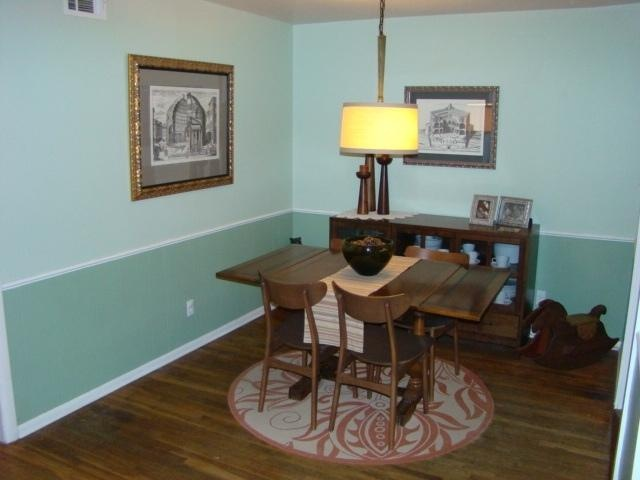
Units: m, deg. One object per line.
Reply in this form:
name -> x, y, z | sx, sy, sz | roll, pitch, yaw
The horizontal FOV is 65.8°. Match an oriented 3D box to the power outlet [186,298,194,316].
power outlet -> -1.154, 0.592, 4.375 | 0.014, 0.153, 0.150 | 3, 6, 24

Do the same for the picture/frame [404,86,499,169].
picture/frame -> 1.247, -1.043, 4.526 | 0.933, 0.839, 0.062 | 3, 8, 20

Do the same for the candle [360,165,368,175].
candle -> 0.424, -0.669, 4.736 | 0.094, 0.087, 0.074 | -1, 14, -4

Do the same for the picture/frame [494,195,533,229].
picture/frame -> 1.740, -0.238, 4.468 | 0.239, 0.263, 0.026 | 12, -1, 30

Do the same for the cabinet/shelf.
cabinet/shelf -> 0.929, 0.346, 3.851 | 1.113, 0.712, 0.351 | 4, 10, 22

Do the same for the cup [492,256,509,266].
cup -> 1.612, 0.196, 4.392 | 0.098, 0.069, 0.083 | -2, 8, 14

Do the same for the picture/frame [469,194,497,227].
picture/frame -> 1.506, -0.269, 4.578 | 0.211, 0.291, 0.024 | 8, -18, 23

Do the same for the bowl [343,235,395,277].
bowl -> 0.342, 0.101, 3.520 | 0.292, 0.199, 0.302 | 0, 5, 0

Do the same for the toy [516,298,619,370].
toy -> 2.123, 0.779, 4.209 | 0.744, 0.543, 0.275 | -3, 14, -12

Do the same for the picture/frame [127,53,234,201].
picture/frame -> -1.168, -0.934, 4.033 | 0.054, 1.231, 1.201 | 7, 11, 32
